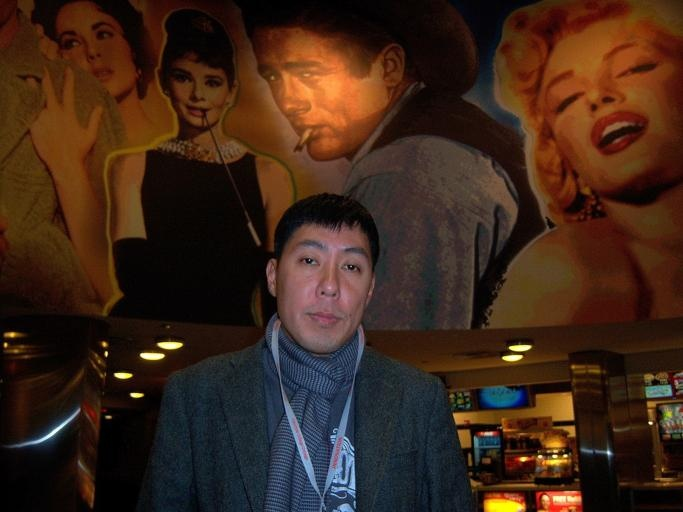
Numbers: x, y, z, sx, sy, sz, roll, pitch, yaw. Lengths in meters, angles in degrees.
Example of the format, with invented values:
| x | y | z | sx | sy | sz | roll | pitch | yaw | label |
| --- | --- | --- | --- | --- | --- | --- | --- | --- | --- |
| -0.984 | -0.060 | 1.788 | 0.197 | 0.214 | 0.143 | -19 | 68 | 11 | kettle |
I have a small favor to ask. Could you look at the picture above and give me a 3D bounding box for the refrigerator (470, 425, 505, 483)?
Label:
| x | y | z | sx | sy | sz | roll | pitch | yaw | label |
| --- | --- | --- | --- | --- | --- | --- | --- | --- | --- |
| 2.983 | 4.017 | 12.914 | 0.718 | 1.537 | 0.776 | -1 | -7 | 10 | refrigerator |
